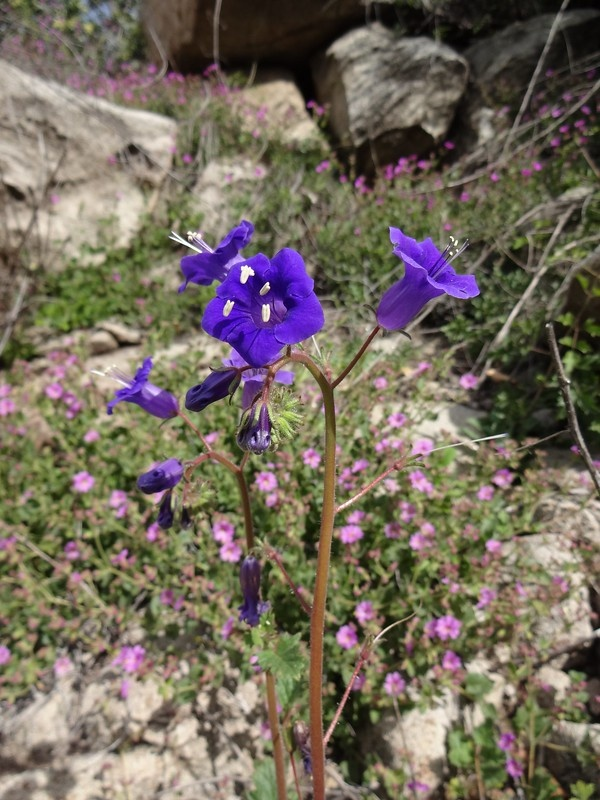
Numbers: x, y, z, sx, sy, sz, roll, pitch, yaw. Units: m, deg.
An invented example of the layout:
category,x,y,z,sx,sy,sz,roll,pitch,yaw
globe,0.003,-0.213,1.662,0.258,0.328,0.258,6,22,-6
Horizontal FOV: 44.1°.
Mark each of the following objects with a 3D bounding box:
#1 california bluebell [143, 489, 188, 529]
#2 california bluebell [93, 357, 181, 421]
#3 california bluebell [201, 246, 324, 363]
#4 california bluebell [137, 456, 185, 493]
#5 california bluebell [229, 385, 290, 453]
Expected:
category,x,y,z,sx,sy,sz,roll,pitch,yaw
california bluebell,-0.610,0.559,3.611,0.171,0.202,0.146,9,41,-9
california bluebell,-1.115,-0.059,5.110,0.455,0.329,0.340,31,12,-10
california bluebell,-0.089,-0.410,3.435,0.525,0.531,0.247,44,11,5
california bluebell,-0.685,0.361,3.629,0.147,0.211,0.094,51,1,-25
california bluebell,-0.181,0.095,3.311,0.168,0.315,0.138,17,21,18
